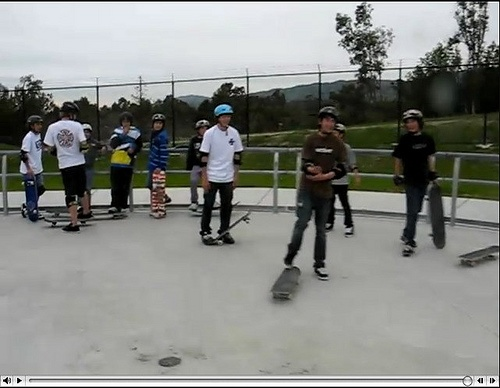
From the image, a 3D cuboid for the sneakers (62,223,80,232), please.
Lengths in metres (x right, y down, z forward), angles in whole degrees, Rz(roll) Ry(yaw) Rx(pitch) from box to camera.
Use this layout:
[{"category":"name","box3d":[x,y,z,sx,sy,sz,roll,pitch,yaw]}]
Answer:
[{"category":"sneakers","box3d":[-3.528,0.665,9.425,0.376,0.191,0.156,3,5,14]}]

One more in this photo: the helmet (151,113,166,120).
[{"category":"helmet","box3d":[-2.010,-1.680,10.560,0.227,0.127,0.361,-4,12,-19]}]

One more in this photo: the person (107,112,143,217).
[{"category":"person","box3d":[-2.800,-0.703,10.729,0.783,2.184,0.628,-4,11,-20]}]

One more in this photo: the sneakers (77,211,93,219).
[{"category":"sneakers","box3d":[-3.492,0.447,10.213,0.319,0.158,0.125,2,2,-3]}]

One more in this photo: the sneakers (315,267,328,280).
[{"category":"sneakers","box3d":[1.011,1.102,6.756,0.201,0.142,0.299,1,11,8]}]

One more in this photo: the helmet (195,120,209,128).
[{"category":"helmet","box3d":[-1.123,-1.587,11.057,0.346,0.205,0.520,-5,4,-15]}]

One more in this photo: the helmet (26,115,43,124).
[{"category":"helmet","box3d":[-4.654,-1.610,10.402,0.243,0.165,0.358,-4,12,-21]}]

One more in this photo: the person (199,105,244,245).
[{"category":"person","box3d":[-0.512,-0.333,8.423,0.721,2.401,0.532,-1,10,-2]}]

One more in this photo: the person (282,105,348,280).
[{"category":"person","box3d":[0.938,-0.020,6.737,0.561,2.358,1.015,9,14,41]}]

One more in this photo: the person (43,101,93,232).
[{"category":"person","box3d":[-3.578,-0.590,9.754,0.827,2.596,0.870,7,17,15]}]

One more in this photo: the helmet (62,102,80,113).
[{"category":"helmet","box3d":[-3.594,-1.741,9.593,0.245,0.260,0.209,-12,48,-30]}]

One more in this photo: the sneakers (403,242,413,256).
[{"category":"sneakers","box3d":[2.574,0.881,7.758,0.210,0.194,0.227,1,11,4]}]

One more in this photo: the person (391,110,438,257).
[{"category":"person","box3d":[2.635,-0.201,7.849,0.691,2.297,0.590,-9,13,-39]}]

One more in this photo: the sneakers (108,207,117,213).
[{"category":"sneakers","box3d":[-3.028,0.362,10.593,0.113,0.159,0.159,-5,16,-15]}]

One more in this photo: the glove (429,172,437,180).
[{"category":"glove","box3d":[2.960,-0.304,7.814,0.115,0.150,0.124,-4,11,-9]}]

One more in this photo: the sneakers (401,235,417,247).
[{"category":"sneakers","box3d":[2.558,0.770,7.816,0.113,0.148,0.314,0,10,-32]}]

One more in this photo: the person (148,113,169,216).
[{"category":"person","box3d":[-2.028,-0.606,10.605,0.445,2.252,0.333,-3,11,-15]}]

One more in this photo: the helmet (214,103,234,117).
[{"category":"helmet","box3d":[-0.497,-1.440,8.332,0.313,0.259,0.476,-7,7,-31]}]

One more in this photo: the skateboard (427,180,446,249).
[{"category":"skateboard","box3d":[3.105,0.301,8.059,0.202,1.139,0.226,-5,12,17]}]

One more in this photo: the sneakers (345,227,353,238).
[{"category":"sneakers","box3d":[1.843,0.717,8.920,0.141,0.201,0.439,0,-3,11]}]

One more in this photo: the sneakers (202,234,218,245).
[{"category":"sneakers","box3d":[-0.697,0.796,8.410,0.154,0.105,0.239,-7,5,-41]}]

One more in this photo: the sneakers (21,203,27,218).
[{"category":"sneakers","box3d":[-5.161,0.395,10.960,0.115,0.396,0.153,-3,-5,-15]}]

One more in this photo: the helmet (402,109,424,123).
[{"category":"helmet","box3d":[2.618,-1.251,7.708,0.271,0.181,0.317,5,12,27]}]

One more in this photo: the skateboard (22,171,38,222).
[{"category":"skateboard","box3d":[-4.693,0.089,10.353,0.255,1.000,0.359,-5,11,-25]}]

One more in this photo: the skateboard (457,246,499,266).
[{"category":"skateboard","box3d":[3.525,0.941,7.369,0.583,0.129,0.295,-16,28,-15]}]
